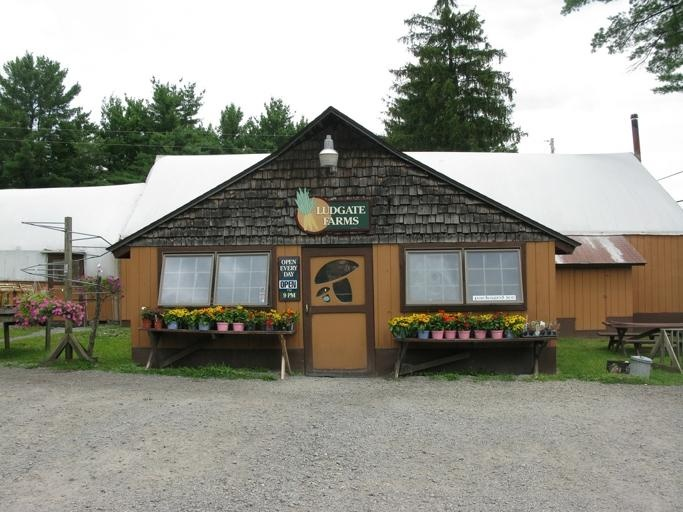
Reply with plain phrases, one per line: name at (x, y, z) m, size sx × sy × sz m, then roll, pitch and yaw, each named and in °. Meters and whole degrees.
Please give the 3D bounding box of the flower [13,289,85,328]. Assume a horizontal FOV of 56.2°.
flower at (-6.646, 1.267, 14.470) m, size 2.038 × 0.822 × 0.543 m, roll 3°, pitch 4°, yaw 28°

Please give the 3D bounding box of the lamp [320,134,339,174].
lamp at (-0.283, -2.141, 13.401) m, size 0.446 × 0.721 × 0.444 m, roll -2°, pitch 6°, yaw -9°

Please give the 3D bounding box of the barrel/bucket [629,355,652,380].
barrel/bucket at (6.172, 2.284, 13.213) m, size 0.422 × 0.437 × 0.412 m, roll 0°, pitch -3°, yaw 0°
